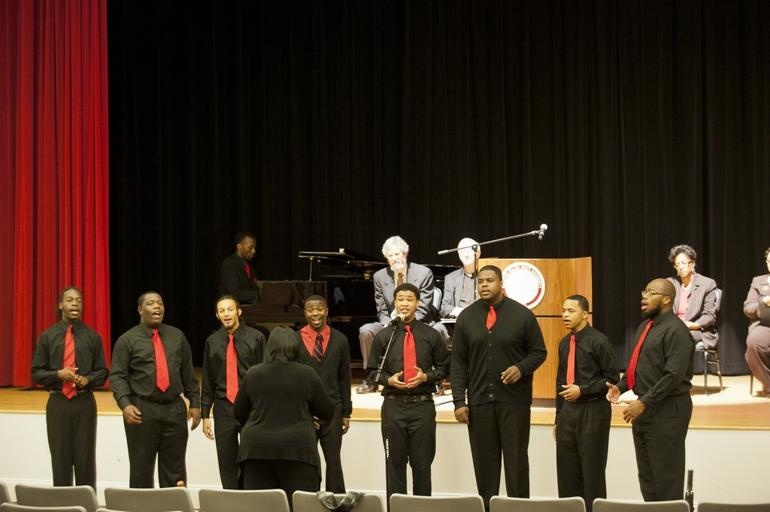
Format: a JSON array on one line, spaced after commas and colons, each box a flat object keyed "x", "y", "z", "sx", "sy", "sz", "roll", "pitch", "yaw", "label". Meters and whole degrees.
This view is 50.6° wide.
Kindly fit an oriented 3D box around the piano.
[{"x": -0.697, "y": 0.638, "z": 10.592, "sx": 2.008, "sy": 1.420, "sz": 1.309, "roll": -1, "pitch": -3, "yaw": 3, "label": "piano"}]

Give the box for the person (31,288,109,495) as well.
[{"x": -3.330, "y": 1.382, "z": 8.576, "sx": 0.732, "sy": 2.121, "sz": 0.486, "roll": -1, "pitch": -3, "yaw": -26, "label": "person"}]

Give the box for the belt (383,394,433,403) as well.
[{"x": 0.218, "y": 1.379, "z": 7.919, "sx": 0.467, "sy": 0.084, "sz": 0.129, "roll": -3, "pitch": -4, "yaw": 4, "label": "belt"}]

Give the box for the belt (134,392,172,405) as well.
[{"x": -2.349, "y": 1.430, "z": 8.154, "sx": 0.219, "sy": 0.081, "sz": 0.174, "roll": -2, "pitch": -4, "yaw": 22, "label": "belt"}]

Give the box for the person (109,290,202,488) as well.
[{"x": -2.321, "y": 1.352, "z": 8.210, "sx": 0.879, "sy": 1.991, "sz": 0.398, "roll": -1, "pitch": -3, "yaw": -21, "label": "person"}]

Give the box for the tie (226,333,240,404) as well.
[{"x": -1.547, "y": 1.123, "z": 8.179, "sx": 0.130, "sy": 0.686, "sz": 0.099, "roll": -2, "pitch": -3, "yaw": -9, "label": "tie"}]

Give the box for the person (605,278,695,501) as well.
[{"x": 2.564, "y": 1.263, "z": 7.680, "sx": 0.708, "sy": 2.112, "sz": 0.510, "roll": -3, "pitch": -3, "yaw": 20, "label": "person"}]

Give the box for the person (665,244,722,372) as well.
[{"x": 3.817, "y": 0.688, "z": 10.244, "sx": 0.727, "sy": 1.640, "sz": 0.786, "roll": -2, "pitch": 13, "yaw": 26, "label": "person"}]

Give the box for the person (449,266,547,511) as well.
[{"x": 1.089, "y": 1.267, "z": 7.835, "sx": 0.913, "sy": 2.373, "sz": 0.298, "roll": -3, "pitch": -3, "yaw": 10, "label": "person"}]

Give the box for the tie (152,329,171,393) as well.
[{"x": -2.283, "y": 1.044, "z": 8.216, "sx": 0.186, "sy": 0.632, "sz": 0.122, "roll": -4, "pitch": -3, "yaw": 41, "label": "tie"}]

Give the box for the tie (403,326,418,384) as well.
[{"x": 0.244, "y": 0.932, "z": 7.911, "sx": 0.157, "sy": 0.548, "sz": 0.219, "roll": -1, "pitch": -3, "yaw": -23, "label": "tie"}]

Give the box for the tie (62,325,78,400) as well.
[{"x": -3.292, "y": 1.097, "z": 8.498, "sx": 0.229, "sy": 0.766, "sz": 0.136, "roll": -4, "pitch": -3, "yaw": 40, "label": "tie"}]
